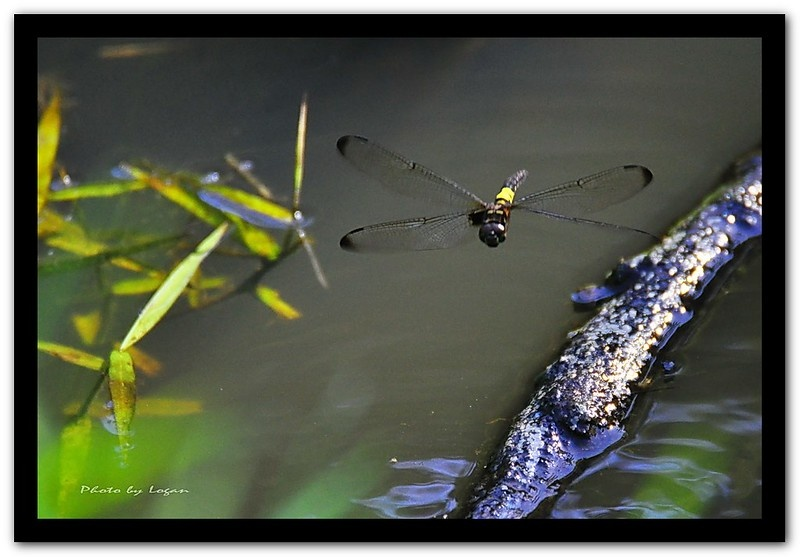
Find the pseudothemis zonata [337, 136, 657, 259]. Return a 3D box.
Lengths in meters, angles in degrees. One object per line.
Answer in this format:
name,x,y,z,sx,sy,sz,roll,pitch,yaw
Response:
pseudothemis zonata,0.196,-0.294,2.170,0.753,0.202,0.257,-2,-55,2
